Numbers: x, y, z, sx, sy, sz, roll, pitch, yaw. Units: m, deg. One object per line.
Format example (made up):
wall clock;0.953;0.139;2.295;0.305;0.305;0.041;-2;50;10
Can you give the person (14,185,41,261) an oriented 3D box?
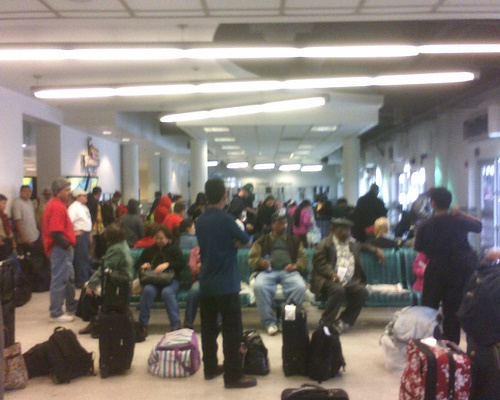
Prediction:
person;-4.315;0.406;9.261;0.457;1.295;0.817;-7;13;-27

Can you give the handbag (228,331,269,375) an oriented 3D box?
handbag;0.072;1.785;5.636;0.279;0.526;0.529;-10;-4;3

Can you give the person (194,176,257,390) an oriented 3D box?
person;-0.284;0.901;5.261;0.561;2.223;0.649;-3;12;-8

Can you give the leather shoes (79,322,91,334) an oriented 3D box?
leather shoes;-2.299;1.789;6.635;0.211;0.100;0.077;2;-4;1

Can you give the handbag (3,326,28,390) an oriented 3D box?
handbag;-2.575;1.822;5.263;0.240;0.426;0.274;-8;13;-29

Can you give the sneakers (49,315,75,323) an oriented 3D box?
sneakers;-2.788;1.741;7.134;0.320;0.154;0.130;-1;0;-9

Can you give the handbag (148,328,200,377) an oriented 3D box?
handbag;-0.906;1.825;5.857;0.617;0.349;0.899;0;4;3

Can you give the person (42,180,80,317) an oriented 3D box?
person;-2.771;0.748;7.054;0.405;2.075;0.544;1;12;9

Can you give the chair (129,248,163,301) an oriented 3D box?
chair;-1.373;1.069;6.870;0.504;0.610;0.731;-4;13;-4

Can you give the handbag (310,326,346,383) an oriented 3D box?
handbag;0.862;1.690;5.376;0.450;0.576;0.237;-6;13;-23

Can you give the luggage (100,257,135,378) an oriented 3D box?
luggage;-1.560;1.398;5.547;0.411;1.140;0.457;-5;12;-17

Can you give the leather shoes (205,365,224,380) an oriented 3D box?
leather shoes;-0.413;1.940;5.482;0.094;0.125;0.266;3;5;35

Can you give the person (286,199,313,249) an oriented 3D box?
person;1.095;0.676;10.135;0.690;1.361;0.730;2;11;6

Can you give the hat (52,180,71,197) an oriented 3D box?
hat;-2.819;-0.193;7.143;0.235;0.269;0.191;-2;21;-8

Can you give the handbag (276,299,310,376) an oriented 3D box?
handbag;0.513;1.569;5.430;0.308;0.789;0.240;0;12;5

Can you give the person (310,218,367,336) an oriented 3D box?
person;1.179;1.048;6.604;0.819;1.532;0.713;-7;13;-27

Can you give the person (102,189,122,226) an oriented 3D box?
person;-3.169;0.240;10.779;0.308;0.310;0.940;17;45;-2

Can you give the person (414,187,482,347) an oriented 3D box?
person;2.371;0.776;5.641;0.610;1.714;0.479;-1;-8;41

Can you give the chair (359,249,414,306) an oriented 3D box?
chair;2.045;1.144;6.922;1.055;0.853;0.615;1;-8;17
